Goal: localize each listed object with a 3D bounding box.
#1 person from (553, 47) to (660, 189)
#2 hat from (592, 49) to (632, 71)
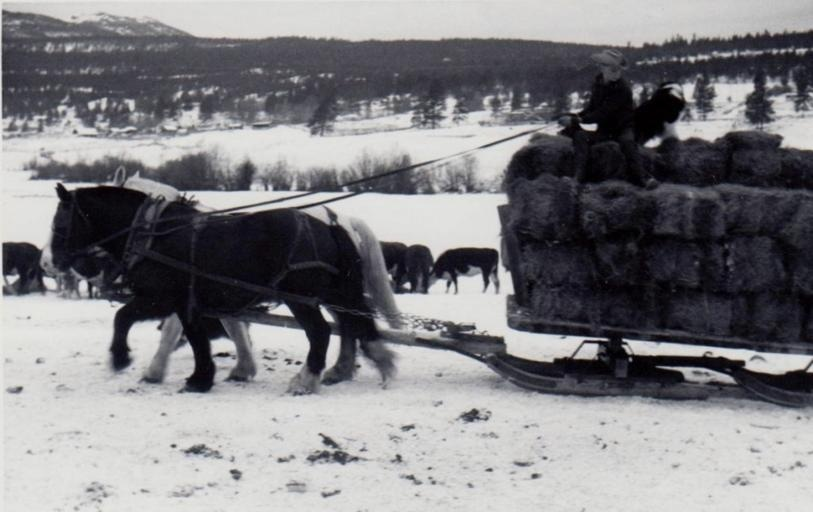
[{"bbox_3d":[3.173,-2.187,23.657,1.275,2.101,0.821,0,8,3],"label":"person"},{"bbox_3d":[3.246,-3.171,23.803,0.487,0.199,0.409,0,27,2],"label":"hat"}]
